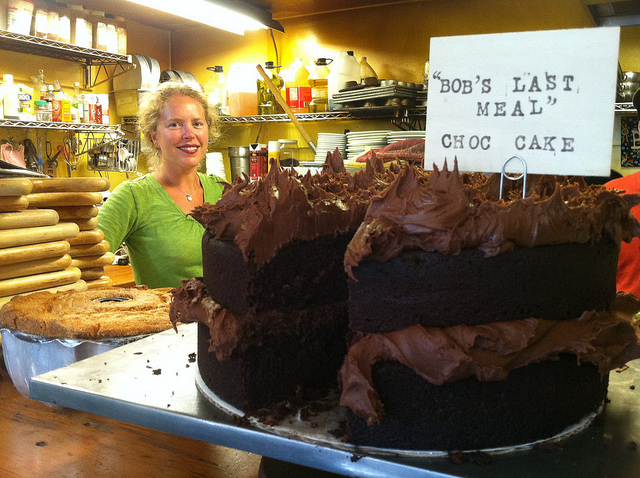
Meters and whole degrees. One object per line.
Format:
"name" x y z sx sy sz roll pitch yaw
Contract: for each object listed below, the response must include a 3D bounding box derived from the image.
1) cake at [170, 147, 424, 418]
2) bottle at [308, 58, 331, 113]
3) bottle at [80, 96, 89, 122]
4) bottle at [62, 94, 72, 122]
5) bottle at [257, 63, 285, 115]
"cake" -0.112 0.112 1.402 0.559 0.580 0.833 6 10 41
"bottle" -0.005 -1.145 3.710 0.255 0.399 0.131 10 11 38
"bottle" -1.805 -1.001 3.821 0.073 0.188 0.029 6 9 16
"bottle" -1.878 -0.974 3.691 0.056 0.202 0.098 -2 10 -27
"bottle" -0.384 -1.192 3.970 0.226 0.384 0.473 2 9 -9
